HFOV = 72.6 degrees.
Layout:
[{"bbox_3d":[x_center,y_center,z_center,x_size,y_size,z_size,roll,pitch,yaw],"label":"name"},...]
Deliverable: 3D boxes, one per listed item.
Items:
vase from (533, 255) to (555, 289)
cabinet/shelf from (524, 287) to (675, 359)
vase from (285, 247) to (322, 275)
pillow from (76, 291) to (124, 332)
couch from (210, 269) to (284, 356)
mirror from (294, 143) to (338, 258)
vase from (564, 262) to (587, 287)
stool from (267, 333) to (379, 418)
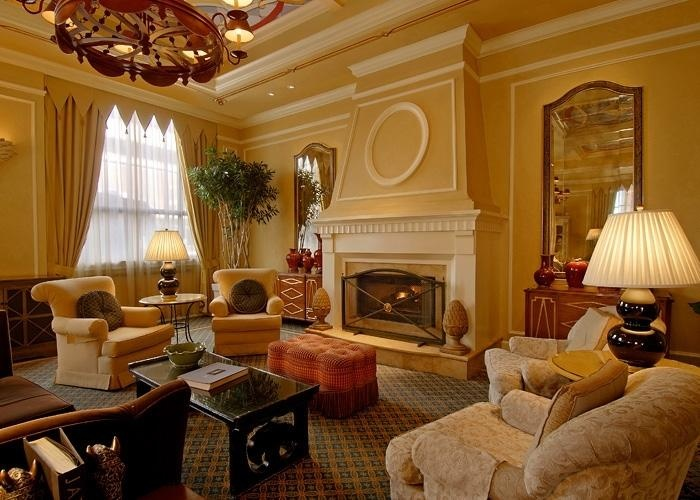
[{"bbox_3d":[2.081,0.217,5.102,0.235,0.347,0.247,4,4,17],"label":"vase"},{"bbox_3d":[2.020,0.581,3.813,0.720,0.706,0.240,3,4,32],"label":"cabinet/shelf"},{"bbox_3d":[-0.624,0.150,6.835,0.344,0.342,0.697,-1,1,-42],"label":"vase"},{"bbox_3d":[-2.479,0.596,4.749,0.112,0.375,0.382,-13,-13,28],"label":"pillow"},{"bbox_3d":[-1.177,0.734,5.712,0.850,1.049,0.947,1,-6,-13],"label":"couch"},{"bbox_3d":[-0.540,-0.801,7.066,0.792,1.578,0.207,2,3,44],"label":"mirror"},{"bbox_3d":[2.234,0.238,4.719,0.231,0.287,0.231,5,-4,-16],"label":"vase"},{"bbox_3d":[-0.144,0.940,4.156,0.813,0.419,0.603,1,2,43],"label":"stool"}]
